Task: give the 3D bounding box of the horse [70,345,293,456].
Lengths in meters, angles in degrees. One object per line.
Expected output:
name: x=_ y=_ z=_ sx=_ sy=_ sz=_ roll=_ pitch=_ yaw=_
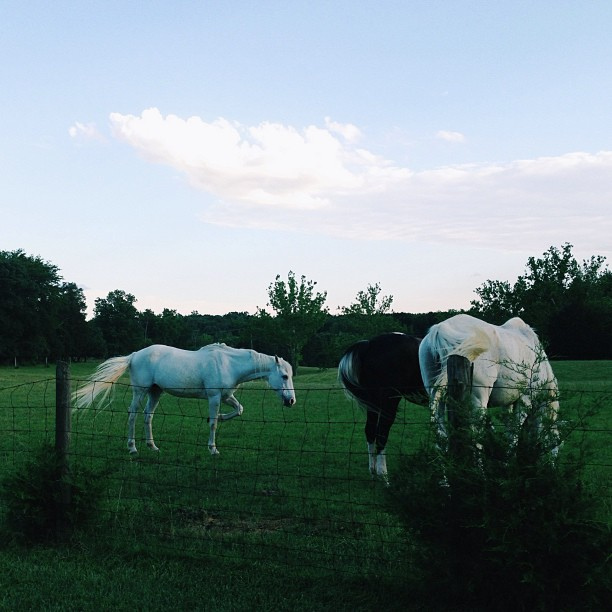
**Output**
horse: x=-2.163 y=1.526 z=12.192 sx=3.897 sy=1.908 sz=0.845 roll=4 pitch=2 yaw=6
